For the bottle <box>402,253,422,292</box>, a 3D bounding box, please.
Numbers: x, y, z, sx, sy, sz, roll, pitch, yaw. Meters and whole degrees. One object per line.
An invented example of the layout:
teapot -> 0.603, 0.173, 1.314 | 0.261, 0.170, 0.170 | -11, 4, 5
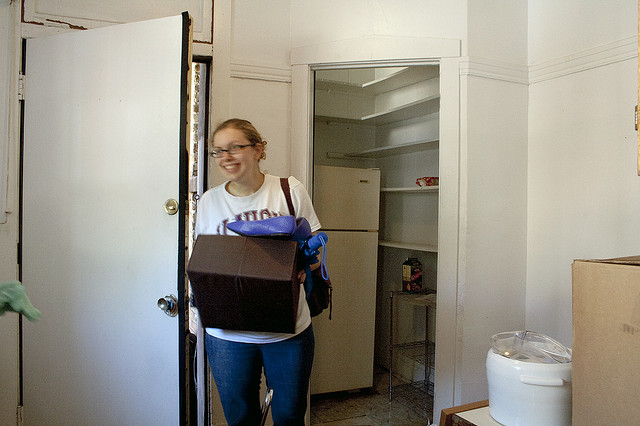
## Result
bottle -> 0.787, 0.529, 4.447 | 0.155, 0.259, 0.110 | 0, 4, 7

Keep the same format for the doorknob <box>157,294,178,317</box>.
doorknob -> -0.856, 0.524, 2.949 | 0.102, 0.108, 0.054 | 19, 6, 30

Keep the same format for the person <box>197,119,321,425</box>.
person -> -0.338, 0.317, 2.753 | 0.670, 1.625, 0.360 | 0, 4, -1

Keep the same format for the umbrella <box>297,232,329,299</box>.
umbrella -> -0.044, 0.274, 2.738 | 0.143, 0.326, 0.174 | 4, 7, -1

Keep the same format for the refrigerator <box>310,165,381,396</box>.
refrigerator -> 0.214, 0.539, 4.328 | 0.535, 1.871, 0.592 | 6, 5, 23
